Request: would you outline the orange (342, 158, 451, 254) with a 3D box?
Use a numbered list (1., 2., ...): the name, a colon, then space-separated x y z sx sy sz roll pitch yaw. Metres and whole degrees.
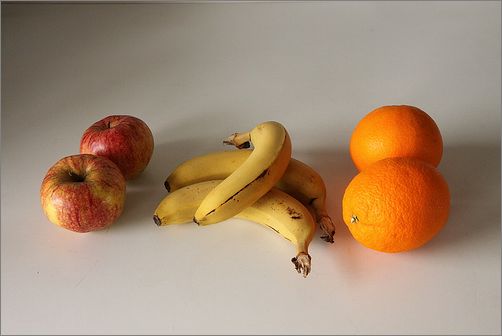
1. orange: 0.493 0.125 1.591 0.338 0.285 0.272 -8 25 -25
